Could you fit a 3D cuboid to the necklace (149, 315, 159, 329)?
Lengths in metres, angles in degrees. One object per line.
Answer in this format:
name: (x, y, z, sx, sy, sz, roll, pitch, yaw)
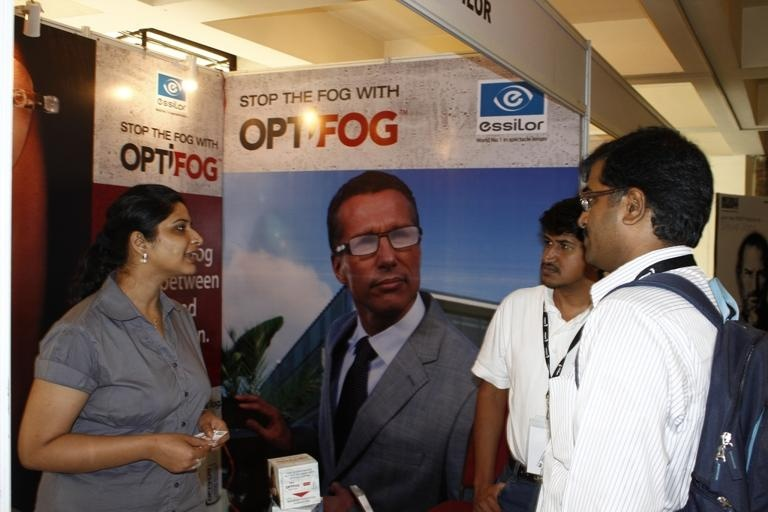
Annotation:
necklace: (-1.134, 0.319, 2.801, 0.044, 0.042, 0.058, 0, -9, -3)
